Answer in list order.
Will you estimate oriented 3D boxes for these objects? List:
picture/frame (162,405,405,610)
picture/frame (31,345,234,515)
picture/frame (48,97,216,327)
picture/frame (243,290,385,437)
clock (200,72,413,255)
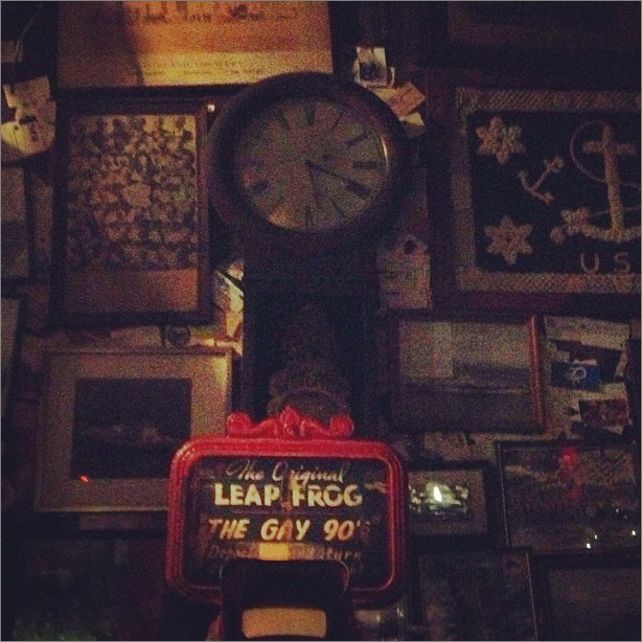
[{"bbox_3d":[-0.131,0.757,3.814,0.714,0.768,0.061,0,-14,0],"label":"picture/frame"},{"bbox_3d":[-0.836,0.497,4.147,0.576,0.853,0.084,0,-3,-8],"label":"picture/frame"},{"bbox_3d":[-0.857,-0.453,4.308,0.819,1.383,0.087,0,-4,-1],"label":"picture/frame"},{"bbox_3d":[-0.053,0.169,4.144,0.569,0.785,0.063,-1,31,-1],"label":"picture/frame"},{"bbox_3d":[-0.071,-0.653,4.130,0.585,0.718,0.093,-10,-6,-4],"label":"clock"}]
